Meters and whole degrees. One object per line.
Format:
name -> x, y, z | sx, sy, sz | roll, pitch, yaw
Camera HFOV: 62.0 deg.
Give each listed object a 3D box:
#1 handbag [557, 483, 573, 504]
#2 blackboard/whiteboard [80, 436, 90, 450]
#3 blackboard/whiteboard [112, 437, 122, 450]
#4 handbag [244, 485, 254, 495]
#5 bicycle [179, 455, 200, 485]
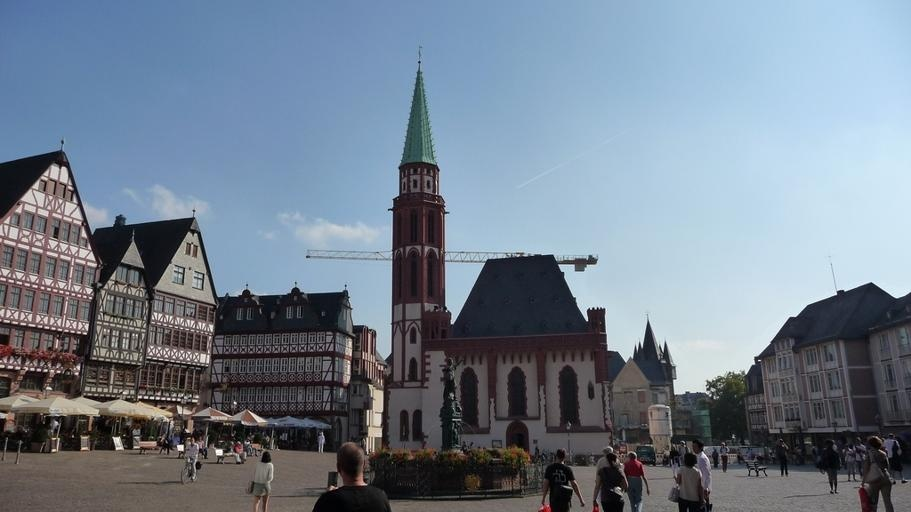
handbag -> 5.893, 12.708, 40.696 | 0.791, 0.855, 0.691 | -2, -6, 15
blackboard/whiteboard -> -30.840, 15.508, 63.055 | 0.397, 1.076, 0.934 | -11, -22, 27
blackboard/whiteboard -> -29.091, 16.053, 65.033 | 0.125, 1.175, 0.944 | -35, -25, 16
handbag -> -11.841, 13.358, 43.520 | 0.159, 0.576, 0.415 | 8, -11, 1
bicycle -> -18.397, 14.806, 52.508 | 1.081, 1.734, 1.046 | 7, -21, -18
